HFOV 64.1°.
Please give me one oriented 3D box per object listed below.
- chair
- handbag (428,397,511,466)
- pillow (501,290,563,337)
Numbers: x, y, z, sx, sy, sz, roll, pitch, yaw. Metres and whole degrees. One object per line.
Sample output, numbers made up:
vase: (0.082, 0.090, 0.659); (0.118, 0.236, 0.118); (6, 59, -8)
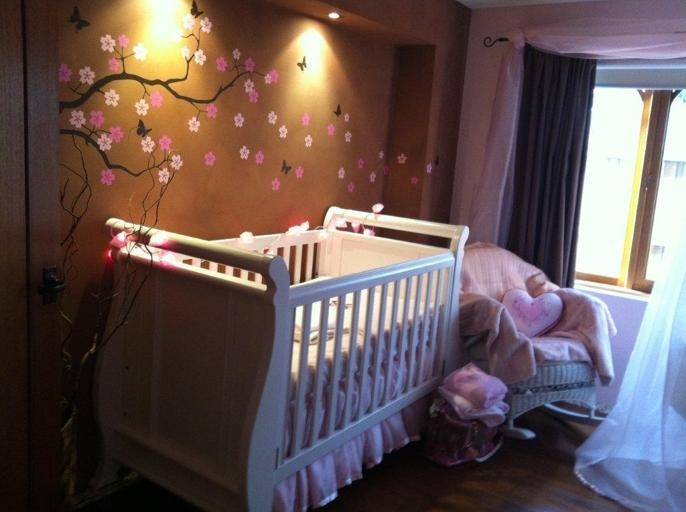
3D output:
chair: (1.111, 0.503, 3.468); (1.004, 1.081, 0.914); (2, 1, -26)
handbag: (0.669, 0.977, 2.907); (0.371, 0.314, 0.155); (4, -9, -7)
pillow: (1.190, 0.345, 3.366); (0.320, 0.341, 0.090); (8, -5, -9)
